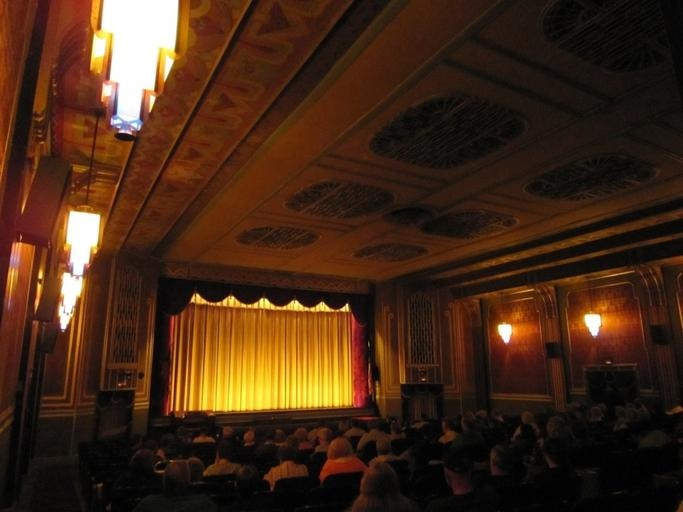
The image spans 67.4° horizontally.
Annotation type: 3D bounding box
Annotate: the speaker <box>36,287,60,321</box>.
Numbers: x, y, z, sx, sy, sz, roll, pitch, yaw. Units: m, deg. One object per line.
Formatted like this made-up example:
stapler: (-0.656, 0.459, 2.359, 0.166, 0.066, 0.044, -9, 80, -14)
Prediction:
speaker: (-3.816, 0.622, 6.654, 0.118, 0.423, 0.320, -7, -10, 38)

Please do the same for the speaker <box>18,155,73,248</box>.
speaker: (-2.718, -0.534, 4.714, 0.338, 0.876, 0.193, 9, -18, -28)

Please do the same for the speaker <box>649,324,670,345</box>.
speaker: (6.798, 1.675, 10.976, 0.133, 0.455, 0.314, 12, -19, -36)
